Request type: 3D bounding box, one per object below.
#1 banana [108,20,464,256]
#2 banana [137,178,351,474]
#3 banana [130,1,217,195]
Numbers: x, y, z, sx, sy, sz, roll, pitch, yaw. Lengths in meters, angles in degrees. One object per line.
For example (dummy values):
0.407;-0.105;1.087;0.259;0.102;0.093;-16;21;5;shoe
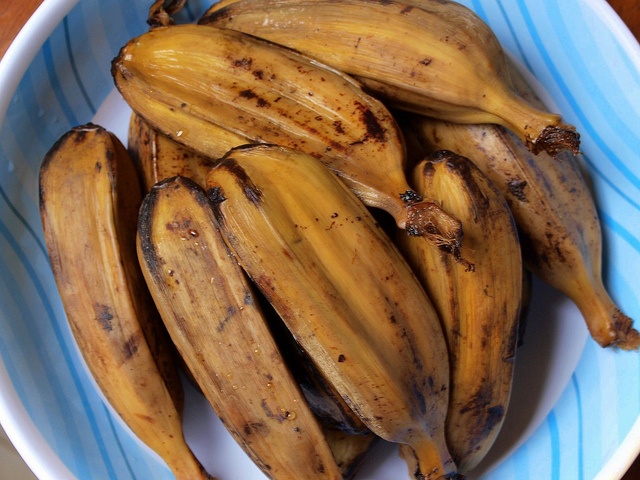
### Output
-0.062;-0.166;1.086;0.595;0.195;0.206;29;62;10;banana
-0.126;0.113;1.009;0.136;0.503;0.123;-28;2;16;banana
-0.217;-0.171;1.053;0.102;0.316;0.105;-3;-6;12;banana
